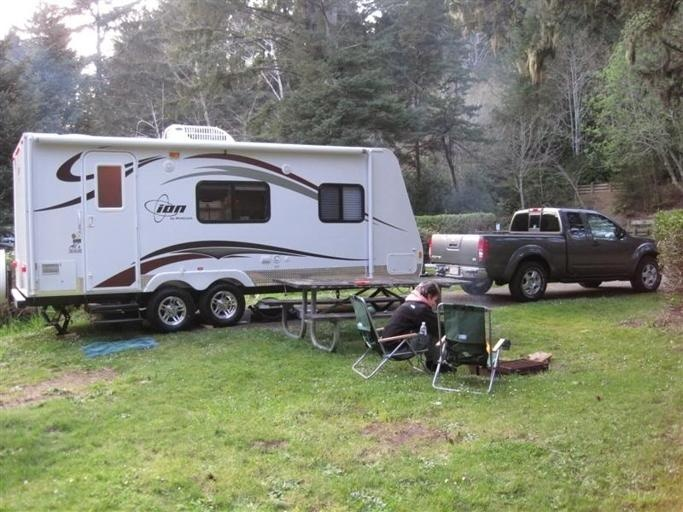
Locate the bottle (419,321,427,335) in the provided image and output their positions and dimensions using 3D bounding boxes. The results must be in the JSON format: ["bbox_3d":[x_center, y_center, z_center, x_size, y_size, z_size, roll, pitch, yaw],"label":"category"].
[{"bbox_3d":[1.100,0.975,8.416,0.098,0.169,0.087,-1,10,7],"label":"bottle"}]

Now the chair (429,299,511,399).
[{"bbox_3d":[1.526,1.274,7.935,0.808,1.126,1.098,-3,36,4],"label":"chair"}]

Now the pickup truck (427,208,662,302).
[{"bbox_3d":[4.671,-0.107,14.371,5.010,1.821,2.279,-4,4,-24],"label":"pickup truck"}]

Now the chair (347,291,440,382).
[{"bbox_3d":[0.769,0.999,8.740,1.267,1.238,0.956,-1,4,-19],"label":"chair"}]

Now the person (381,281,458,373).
[{"bbox_3d":[1.024,0.858,8.494,1.296,1.576,0.750,2,-2,-9],"label":"person"}]
